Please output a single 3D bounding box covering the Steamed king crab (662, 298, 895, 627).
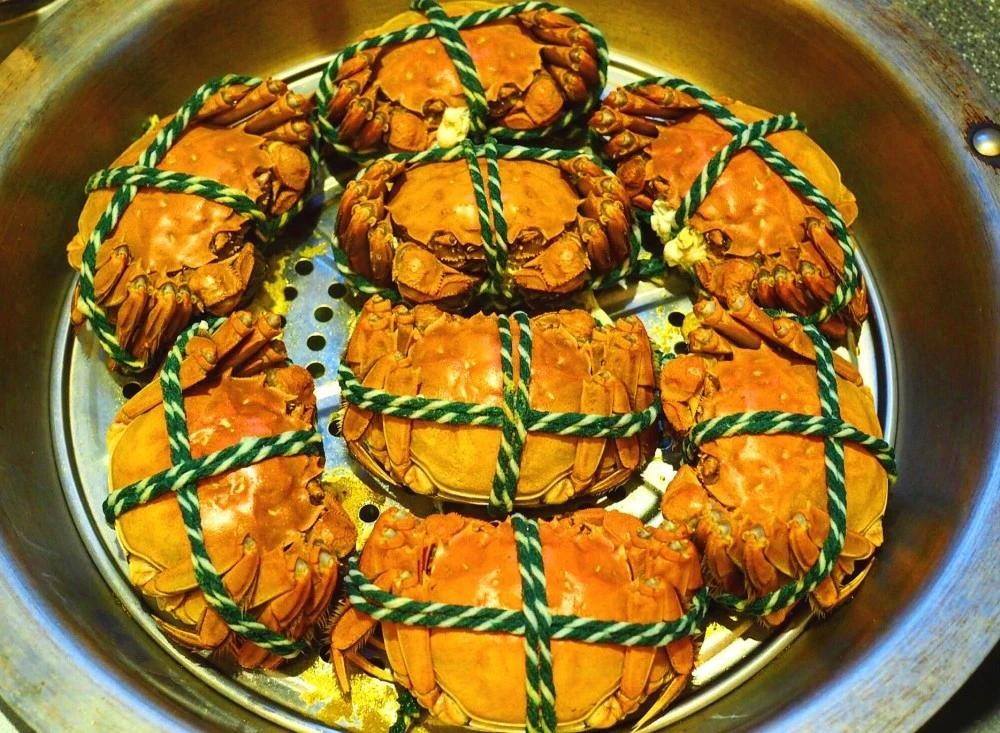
[{"bbox_3d":[0.890,0.326,4.140,0.774,0.253,1.017,-33,86,-3],"label":"Steamed king crab"}]

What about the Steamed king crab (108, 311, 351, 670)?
[{"bbox_3d":[-0.910,0.429,4.113,0.749,0.301,1.156,-19,86,-2],"label":"Steamed king crab"}]
